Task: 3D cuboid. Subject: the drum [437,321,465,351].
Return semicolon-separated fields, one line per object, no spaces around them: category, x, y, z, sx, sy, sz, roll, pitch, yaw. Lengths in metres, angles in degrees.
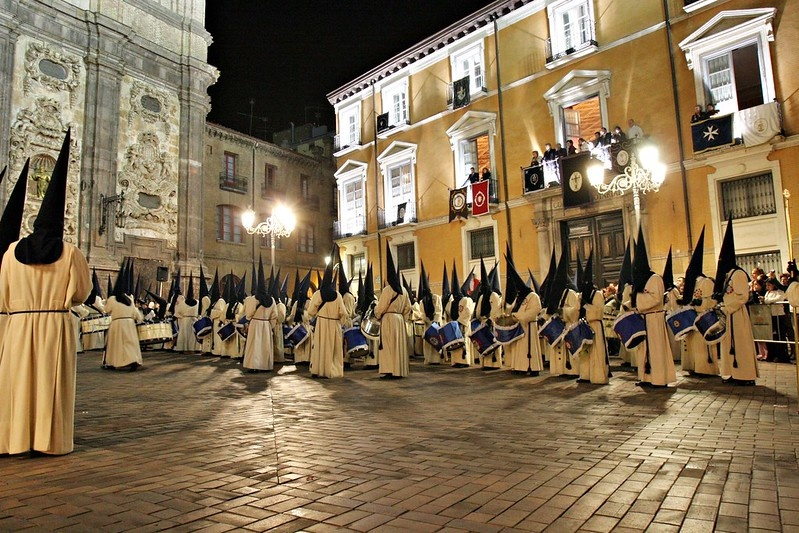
drum;1.347;1.813;17.865;0.677;0.744;0.719;-18;-31;-1

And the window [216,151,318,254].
window;-7.320;-3.486;36.408;3.107;5.389;5.325;-10;-13;37

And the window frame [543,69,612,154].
window frame;6.650;-5.676;25.611;0.368;3.714;3.098;19;-13;-29

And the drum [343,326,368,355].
drum;-1.132;1.980;17.806;0.642;0.845;0.573;-2;9;-4

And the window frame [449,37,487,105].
window frame;3.057;-8.424;29.104;1.577;2.060;0.450;-14;-18;37

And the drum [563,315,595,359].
drum;4.063;1.548;15.319;0.726;0.619;0.375;-43;-29;18

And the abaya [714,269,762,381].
abaya;7.282;1.254;14.871;0.934;2.344;0.907;-1;-1;1

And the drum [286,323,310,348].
drum;-2.818;1.967;19.386;0.548;0.782;0.927;1;9;11

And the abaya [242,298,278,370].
abaya;-3.733;1.812;18.233;0.841;1.934;0.962;-2;9;-4

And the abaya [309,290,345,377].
abaya;-1.762;1.680;17.016;0.899;2.087;0.765;-2;9;-8

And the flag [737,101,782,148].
flag;11.314;-4.423;21.310;1.255;1.432;0.237;16;-8;45

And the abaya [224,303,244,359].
abaya;-5.074;2.027;20.860;0.581;2.040;2.012;-3;9;-15

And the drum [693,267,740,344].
drum;6.895;0.916;14.885;0.504;1.399;0.905;0;1;9

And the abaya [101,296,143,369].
abaya;-7.499;1.558;18.443;0.882;2.192;1.052;1;-5;-37

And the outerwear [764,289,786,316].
outerwear;9.682;0.934;17.536;0.467;0.584;0.719;3;10;26

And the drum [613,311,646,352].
drum;5.003;1.370;14.707;0.658;0.813;0.402;2;9;17

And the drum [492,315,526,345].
drum;2.656;1.576;16.890;0.545;0.596;0.789;-35;-7;-5

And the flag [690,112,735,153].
flag;10.161;-4.370;21.984;1.346;1.255;0.145;1;0;42

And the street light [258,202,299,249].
street light;-4.290;-1.262;23.355;1.023;1.302;1.050;5;14;36
